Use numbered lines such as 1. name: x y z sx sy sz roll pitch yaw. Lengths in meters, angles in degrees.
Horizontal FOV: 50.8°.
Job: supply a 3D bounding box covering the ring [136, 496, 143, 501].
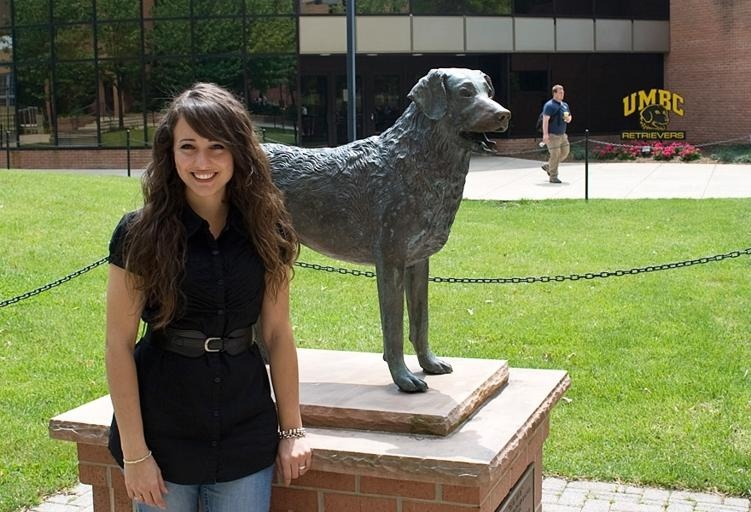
1. ring: -1.390 1.433 4.661 0.028 0.015 0.022 -1 0 26
